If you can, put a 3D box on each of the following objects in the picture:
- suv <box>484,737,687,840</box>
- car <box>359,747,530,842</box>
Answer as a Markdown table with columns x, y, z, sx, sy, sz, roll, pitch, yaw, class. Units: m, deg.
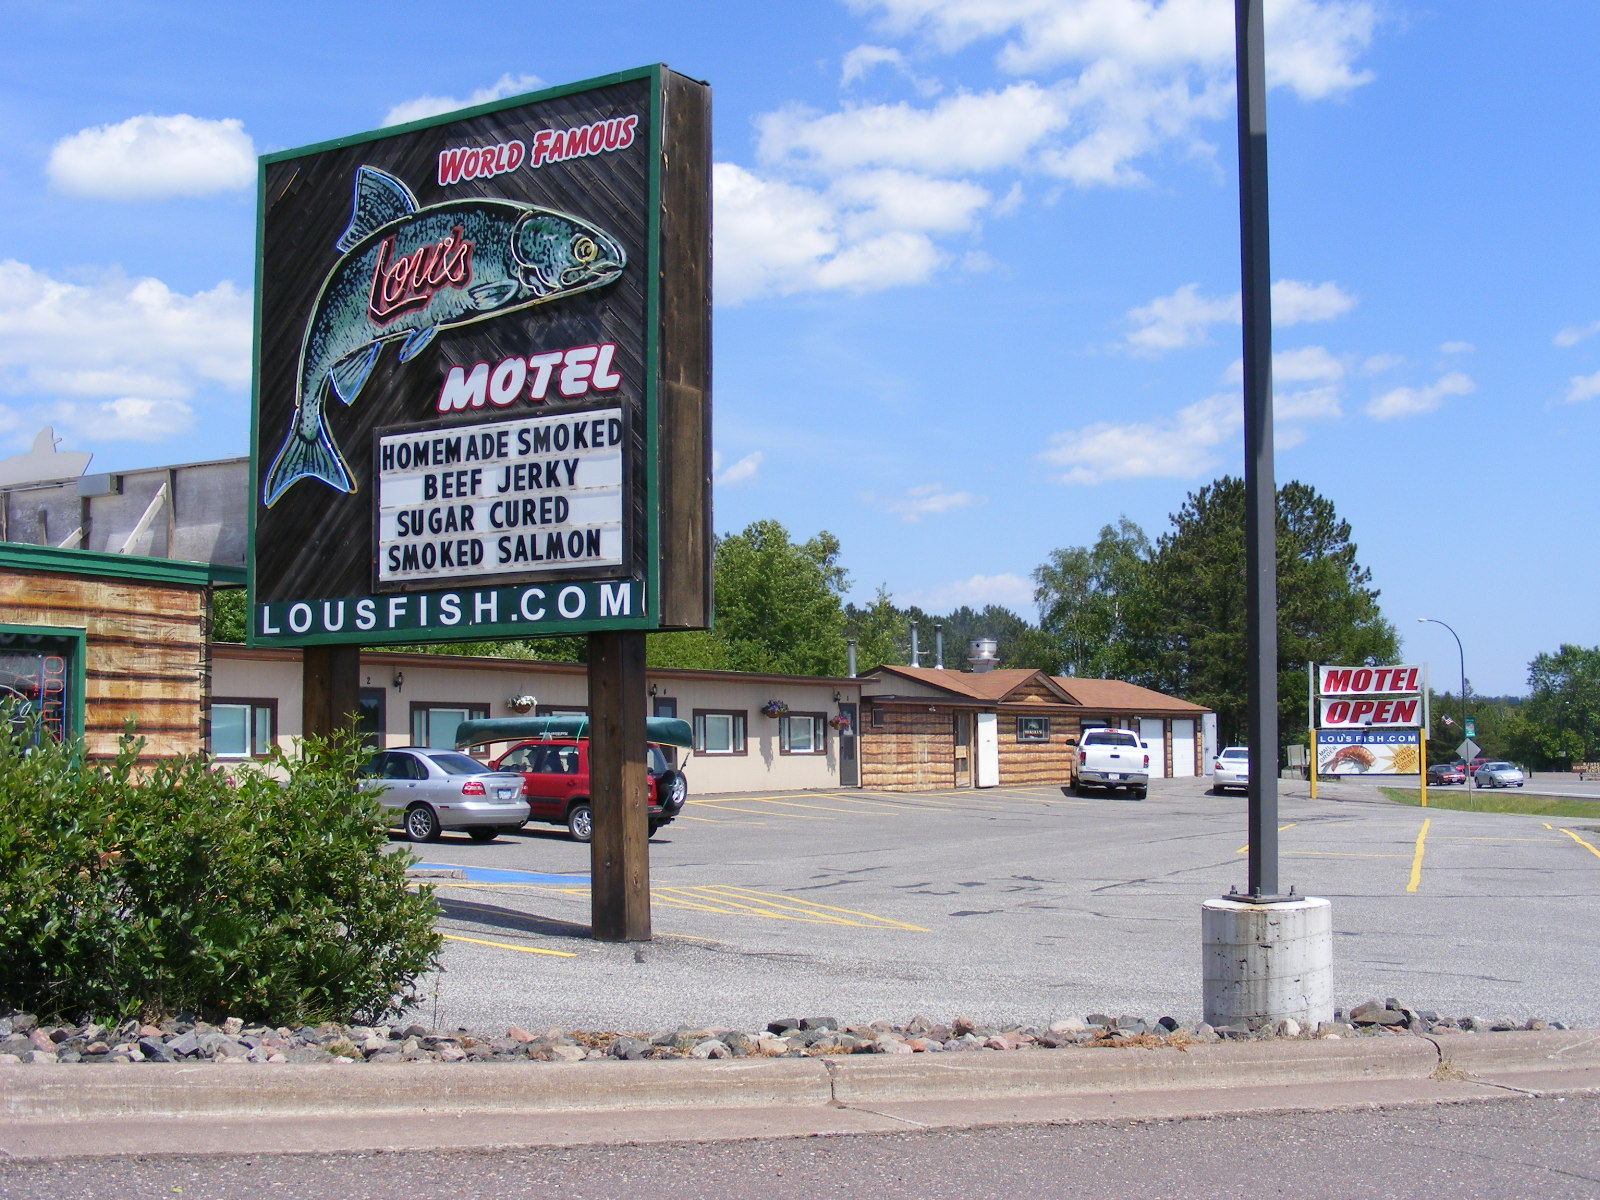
| x | y | z | sx | sy | sz | roll | pitch | yaw | class |
| --- | --- | --- | --- | --- | --- | --- | --- | --- | --- |
| -3.424 | 2.837 | 35.440 | 3.336 | 1.619 | 1.701 | 3 | -1 | 32 | suv |
| -5.377 | 2.990 | 34.054 | 2.160 | 1.526 | 3.683 | 3 | -8 | -10 | car |
